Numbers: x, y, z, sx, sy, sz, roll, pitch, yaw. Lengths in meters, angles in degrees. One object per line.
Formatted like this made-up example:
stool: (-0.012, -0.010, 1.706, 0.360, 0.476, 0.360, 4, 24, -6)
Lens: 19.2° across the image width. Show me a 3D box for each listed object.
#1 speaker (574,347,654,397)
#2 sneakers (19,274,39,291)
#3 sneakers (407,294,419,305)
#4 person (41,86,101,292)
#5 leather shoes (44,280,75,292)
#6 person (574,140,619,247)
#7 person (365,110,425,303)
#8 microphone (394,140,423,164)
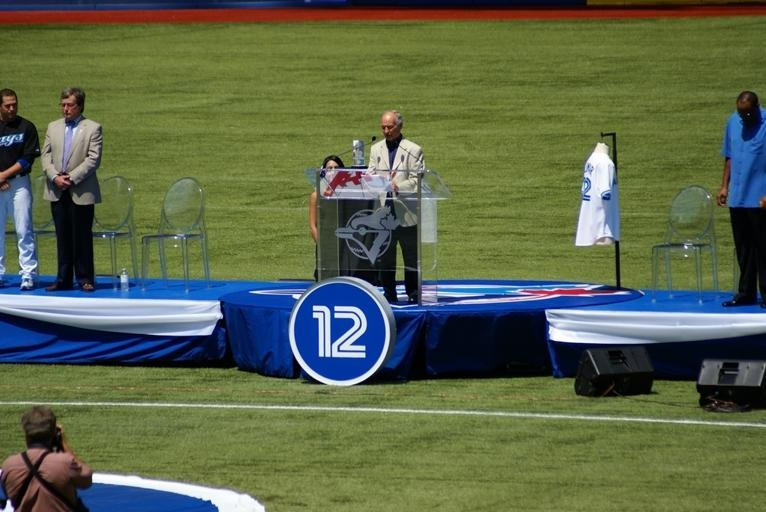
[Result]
speaker: (2.815, 1.424, 27.727, 1.241, 0.667, 0.583, 2, -11, -12)
sneakers: (-4.610, 0.321, 29.183, 0.209, 0.179, 0.465, 0, -6, -6)
sneakers: (0.365, 0.516, 28.194, 0.142, 0.099, 0.126, 1, -11, -1)
person: (-4.034, -0.858, 29.119, 0.751, 2.549, 0.406, -2, 5, -8)
leather shoes: (-4.204, 0.376, 29.143, 0.382, 0.119, 0.115, 3, -4, -20)
person: (2.736, -0.792, 28.984, 0.550, 1.287, 0.394, -1, 5, 1)
person: (0.153, -0.602, 28.121, 0.676, 2.347, 0.586, -1, 5, -1)
microphone: (0.283, -1.277, 28.145, 0.350, 0.273, 0.173, 3, -8, 6)
